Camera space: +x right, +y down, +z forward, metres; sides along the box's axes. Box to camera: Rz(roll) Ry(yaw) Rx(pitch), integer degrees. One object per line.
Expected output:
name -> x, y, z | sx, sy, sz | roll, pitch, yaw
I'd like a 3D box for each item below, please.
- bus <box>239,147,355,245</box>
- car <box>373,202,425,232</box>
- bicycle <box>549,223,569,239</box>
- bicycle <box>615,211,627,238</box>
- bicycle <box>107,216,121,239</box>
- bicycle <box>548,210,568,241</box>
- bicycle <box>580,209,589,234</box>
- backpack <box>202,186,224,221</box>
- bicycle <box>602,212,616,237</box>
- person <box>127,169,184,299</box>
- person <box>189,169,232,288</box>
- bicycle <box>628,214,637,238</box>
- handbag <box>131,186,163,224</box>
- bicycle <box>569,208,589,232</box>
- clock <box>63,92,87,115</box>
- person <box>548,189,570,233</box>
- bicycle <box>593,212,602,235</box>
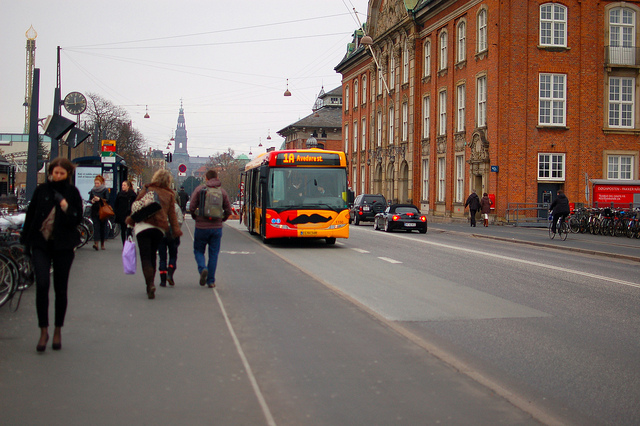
bus -> -1.179, -0.633, 23.186 | 3.005, 3.600, 5.077 | 0, 3, -25
car -> 4.309, 0.277, 31.672 | 1.749, 1.454, 2.478 | 1, 2, -6
bicycle -> 10.405, 0.787, 26.249 | 0.428, 0.605, 0.931 | -2, 5, -12
bicycle -> 14.021, 0.521, 28.195 | 0.498, 1.114, 0.839 | 2, 2, 27
bicycle -> -8.024, 0.587, 23.497 | 0.389, 0.825, 2.345 | 0, 3, -18
bicycle -> 10.432, 0.714, 26.471 | 0.512, 0.767, 1.216 | -1, 7, -8
bicycle -> 13.310, 0.525, 30.437 | 0.209, 0.936, 0.608 | 0, 2, -22
backpack -> -2.132, -0.142, 12.351 | 0.463, 0.719, 0.391 | 3, -18, -9
bicycle -> 13.785, 0.548, 28.688 | 0.352, 1.006, 0.795 | 1, 2, -12
person -> -3.110, 0.372, 11.404 | 0.965, 2.403, 0.940 | 12, -16, -36
person -> -2.282, 0.305, 12.491 | 0.814, 2.381, 0.617 | 1, 2, -12
bicycle -> 14.163, 0.681, 27.496 | 0.164, 0.865, 0.341 | 0, 2, -28
handbag -> -3.166, -0.019, 11.206 | 0.559, 0.573, 0.672 | -4, 44, -4
bicycle -> 13.226, 0.374, 30.718 | 0.419, 1.134, 1.151 | 0, 3, -27
clock -> -12.518, -5.533, 31.011 | 1.128, 1.119, 1.401 | 1, 2, -5
person -> 10.448, -0.048, 26.386 | 0.736, 1.844, 0.836 | 2, 2, 23
bicycle -> 13.521, 0.553, 29.458 | 0.189, 0.877, 0.610 | 1, 2, -1
